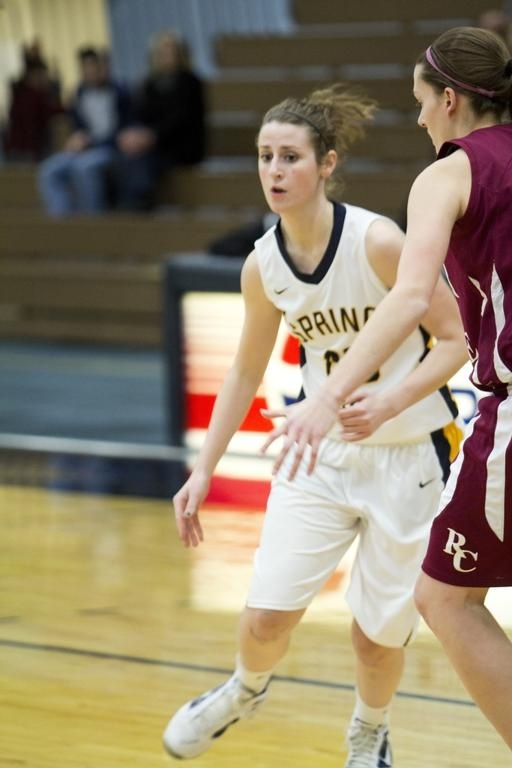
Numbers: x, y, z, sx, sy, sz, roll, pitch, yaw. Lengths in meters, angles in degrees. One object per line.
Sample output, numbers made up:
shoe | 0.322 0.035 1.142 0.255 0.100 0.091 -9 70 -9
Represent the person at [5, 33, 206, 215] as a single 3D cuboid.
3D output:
person | -0.886 -1.595 4.894 0.613 1.045 1.259 16 34 35
